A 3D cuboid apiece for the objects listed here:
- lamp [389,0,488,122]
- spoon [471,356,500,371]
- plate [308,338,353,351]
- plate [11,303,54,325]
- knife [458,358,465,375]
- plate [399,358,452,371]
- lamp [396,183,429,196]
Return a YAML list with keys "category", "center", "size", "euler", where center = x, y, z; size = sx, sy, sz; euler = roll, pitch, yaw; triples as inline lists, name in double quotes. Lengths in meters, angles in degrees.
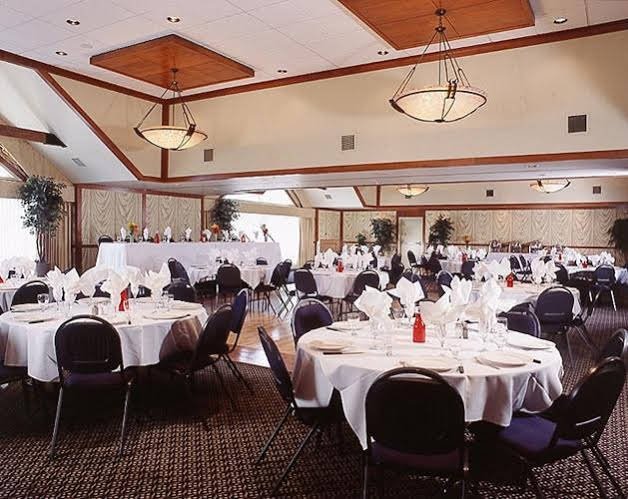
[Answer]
- category: "lamp"
  center: [1.974, -2.930, 6.659]
  size: [1.116, 1.470, 1.228]
  euler: [-4, -21, 32]
- category: "spoon"
  center: [1.101, 0.750, 2.836]
  size: [0.118, 0.016, 0.218]
  euler: [-6, 11, -33]
- category: "plate"
  center: [0.115, 0.696, 3.188]
  size: [0.298, 0.032, 0.259]
  euler: [0, 9, -3]
- category: "plate"
  center: [-2.602, 0.599, 4.030]
  size: [0.275, 0.054, 0.281]
  euler: [6, 6, 8]
- category: "knife"
  center: [0.940, 0.752, 2.779]
  size: [0.032, 0.078, 0.046]
  euler: [-1, 1, -1]
- category: "plate"
  center: [0.723, 0.738, 2.795]
  size: [0.334, 0.033, 0.219]
  euler: [1, 9, 8]
- category: "lamp"
  center: [3.542, -2.160, 15.812]
  size: [0.675, 0.351, 0.716]
  euler: [-2, -3, 13]
